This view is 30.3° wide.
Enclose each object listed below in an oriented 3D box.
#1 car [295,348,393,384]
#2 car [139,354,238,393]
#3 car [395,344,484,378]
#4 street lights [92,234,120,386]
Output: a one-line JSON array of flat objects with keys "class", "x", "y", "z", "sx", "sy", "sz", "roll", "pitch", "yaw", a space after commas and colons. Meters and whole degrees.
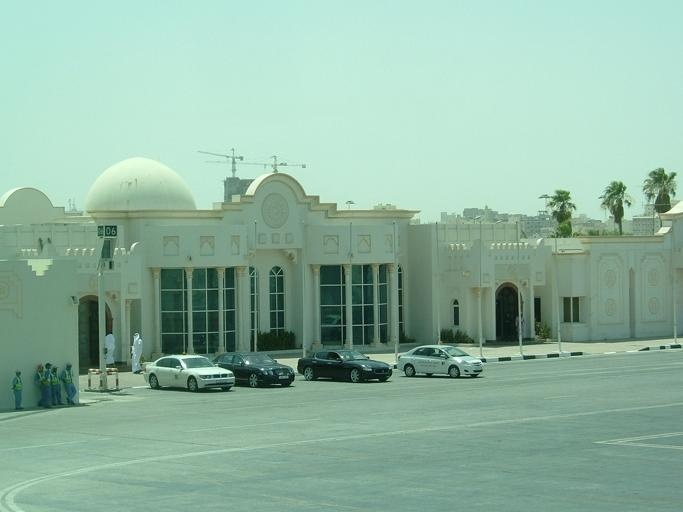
[{"class": "car", "x": 0.084, "y": 4.986, "z": 57.372, "sx": 4.777, "sy": 1.495, "sz": 2.065, "roll": -3, "pitch": -5, "yaw": 43}, {"class": "car", "x": -6.558, "y": 5.023, "z": 54.369, "sx": 4.016, "sy": 1.548, "sz": 1.394, "roll": -7, "pitch": -8, "yaw": 40}, {"class": "car", "x": 4.489, "y": 4.831, "z": 57.957, "sx": 4.017, "sy": 1.477, "sz": 1.882, "roll": -3, "pitch": -4, "yaw": 38}, {"class": "street lights", "x": -11.452, "y": 2.434, "z": 61.451, "sx": 0.638, "sy": 7.014, "sz": 0.860, "roll": -7, "pitch": -2, "yaw": 42}]
